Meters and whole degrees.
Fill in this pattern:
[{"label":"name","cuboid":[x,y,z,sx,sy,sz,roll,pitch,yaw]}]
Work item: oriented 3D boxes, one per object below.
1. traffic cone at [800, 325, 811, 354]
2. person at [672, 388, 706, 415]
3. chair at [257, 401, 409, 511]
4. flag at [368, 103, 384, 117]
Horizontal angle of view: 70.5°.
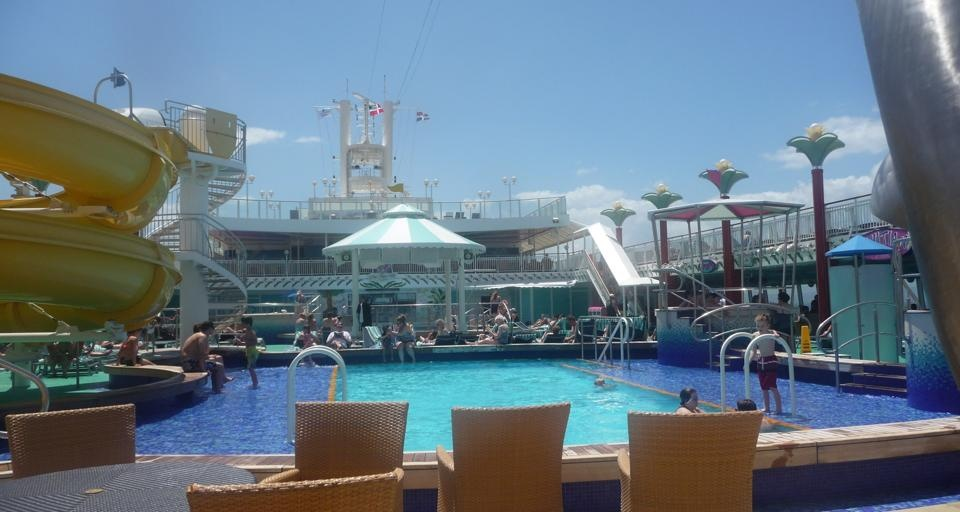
[{"label":"traffic cone","cuboid":[8.681,2.230,18.120,0.254,0.689,0.910,-7,-9,24]},{"label":"person","cuboid":[3.638,2.546,11.799,0.424,0.543,1.162,-10,-6,20]},{"label":"chair","cuboid":[-1.747,2.741,9.830,1.708,2.149,1.645,0,-8,5]},{"label":"flag","cuboid":[-6.919,-9.599,44.913,0.978,0.767,0.610,-3,-8,0]}]
